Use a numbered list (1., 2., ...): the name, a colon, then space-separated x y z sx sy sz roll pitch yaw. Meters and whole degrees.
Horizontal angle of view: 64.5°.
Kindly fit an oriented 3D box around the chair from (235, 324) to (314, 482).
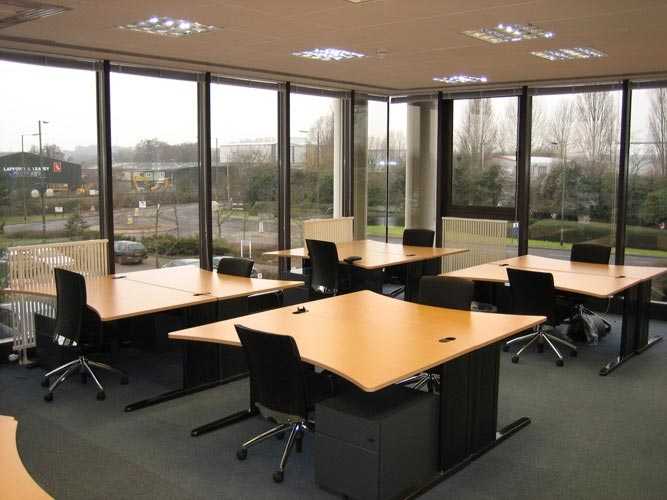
1. chair: -0.403 1.163 4.255 0.799 0.685 0.858 -14 36 -7

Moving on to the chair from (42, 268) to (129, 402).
1. chair: -2.710 0.850 5.661 0.899 1.297 0.894 -1 -1 28

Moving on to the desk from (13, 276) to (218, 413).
1. desk: -2.402 0.481 5.873 2.014 1.054 1.501 10 14 39

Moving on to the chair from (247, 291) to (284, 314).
1. chair: -0.868 0.655 6.641 0.249 0.171 0.383 9 14 41

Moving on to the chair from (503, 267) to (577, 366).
1. chair: 2.549 0.819 6.516 0.871 1.142 0.958 -11 12 -36

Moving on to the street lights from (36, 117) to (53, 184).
1. street lights: -3.804 -1.328 6.997 0.186 0.786 0.077 -11 16 -43

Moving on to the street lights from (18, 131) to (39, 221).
1. street lights: -3.948 -0.971 6.917 0.077 1.154 0.353 4 12 20

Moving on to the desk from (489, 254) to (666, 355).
1. desk: 3.291 0.500 6.696 1.396 0.863 1.725 -19 22 -40

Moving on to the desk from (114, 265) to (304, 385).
1. desk: -1.513 0.544 6.034 1.423 0.712 1.449 10 16 36

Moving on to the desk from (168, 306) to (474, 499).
1. desk: -0.316 1.422 5.209 1.794 1.051 1.929 20 0 32

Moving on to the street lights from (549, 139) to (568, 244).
1. street lights: 3.961 -1.000 9.317 0.157 1.795 0.422 -3 12 -15

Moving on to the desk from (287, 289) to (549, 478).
1. desk: 0.663 0.931 4.374 1.532 0.688 1.500 -19 24 -41
